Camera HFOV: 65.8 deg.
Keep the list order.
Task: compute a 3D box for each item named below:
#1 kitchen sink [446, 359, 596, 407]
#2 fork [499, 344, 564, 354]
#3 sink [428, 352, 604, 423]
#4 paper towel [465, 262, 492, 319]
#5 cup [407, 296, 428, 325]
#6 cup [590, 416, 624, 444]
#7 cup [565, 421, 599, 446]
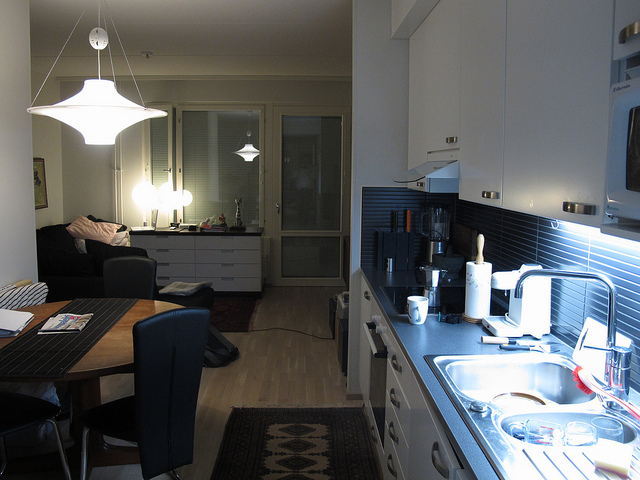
[{"bbox_3d":[0.759,0.546,1.901,0.388,0.181,0.376,0,3,-3],"label":"kitchen sink"},{"bbox_3d":[0.892,0.454,2.101,0.258,0.023,0.077,-1,13,5],"label":"fork"},{"bbox_3d":[0.743,0.544,1.900,0.561,0.209,0.465,0,10,-8],"label":"sink"},{"bbox_3d":[0.778,0.239,2.443,0.122,0.274,0.165,5,11,19],"label":"paper towel"},{"bbox_3d":[0.466,0.334,2.380,0.081,0.102,0.134,1,12,7],"label":"cup"},{"bbox_3d":[0.937,0.613,1.616,0.073,0.086,0.077,0,11,0],"label":"cup"},{"bbox_3d":[0.827,0.614,1.572,0.074,0.057,0.077,-3,3,0],"label":"cup"}]
